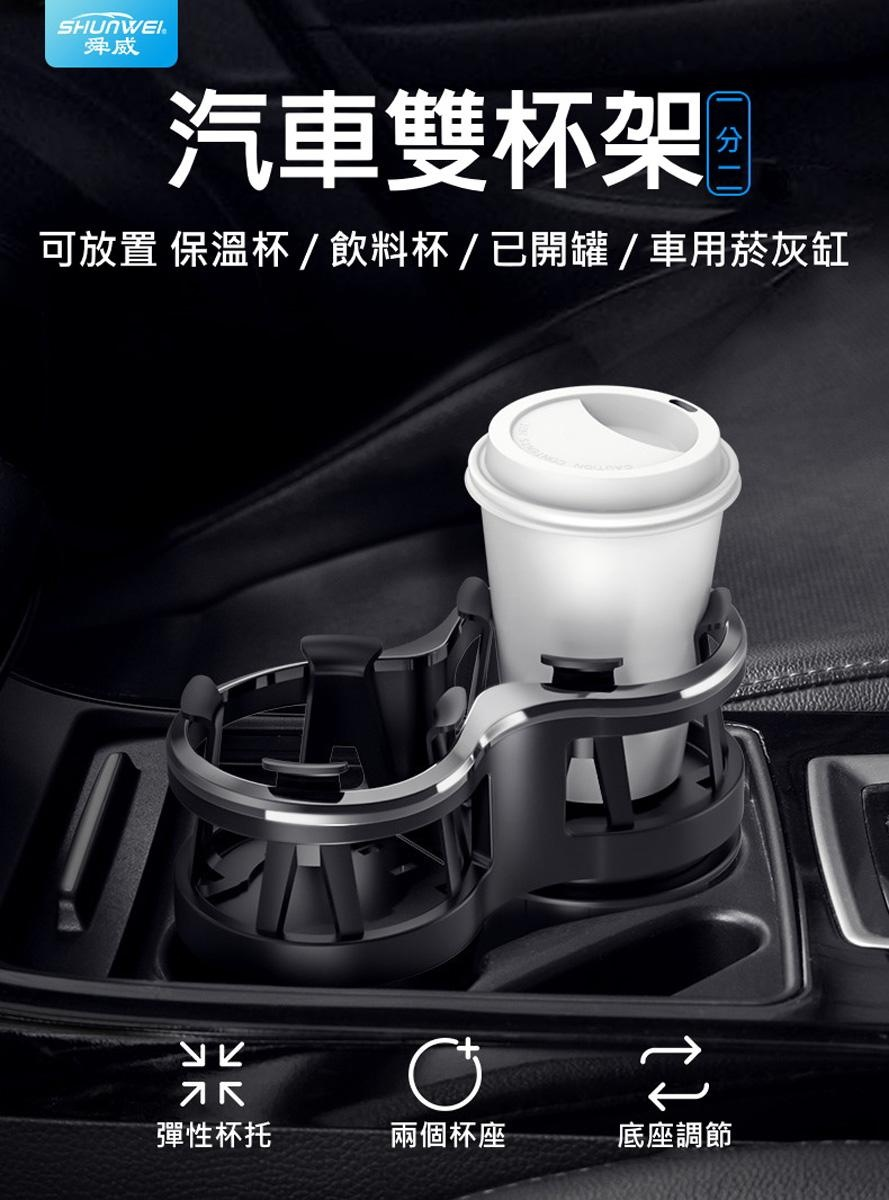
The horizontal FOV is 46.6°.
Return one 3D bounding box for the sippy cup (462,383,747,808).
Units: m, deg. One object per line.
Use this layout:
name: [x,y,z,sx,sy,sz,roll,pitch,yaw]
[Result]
sippy cup: [0.098,-0.032,0.637,0.160,0.179,0.169,-6,17,2]
